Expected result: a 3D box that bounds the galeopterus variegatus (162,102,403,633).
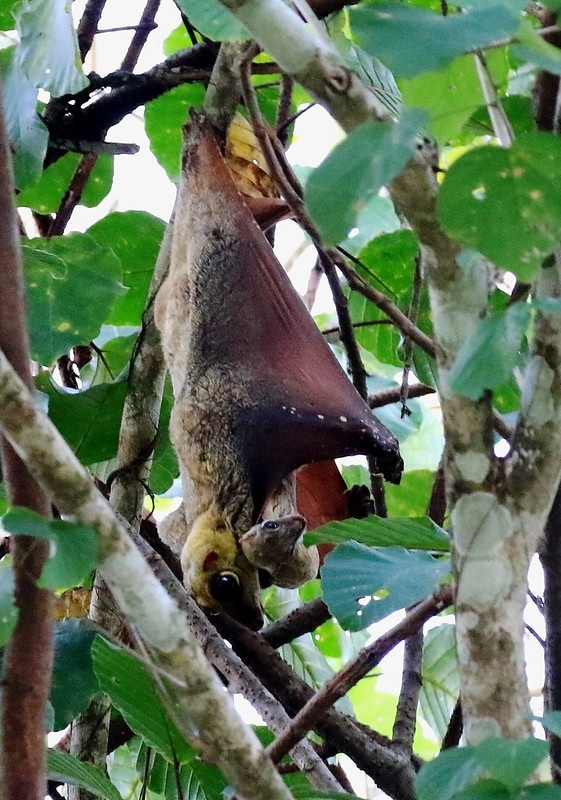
[{"bbox_3d":[0.000,-0.082,2.465,0.488,0.927,0.215,-10,-27,23],"label":"galeopterus variegatus"}]
